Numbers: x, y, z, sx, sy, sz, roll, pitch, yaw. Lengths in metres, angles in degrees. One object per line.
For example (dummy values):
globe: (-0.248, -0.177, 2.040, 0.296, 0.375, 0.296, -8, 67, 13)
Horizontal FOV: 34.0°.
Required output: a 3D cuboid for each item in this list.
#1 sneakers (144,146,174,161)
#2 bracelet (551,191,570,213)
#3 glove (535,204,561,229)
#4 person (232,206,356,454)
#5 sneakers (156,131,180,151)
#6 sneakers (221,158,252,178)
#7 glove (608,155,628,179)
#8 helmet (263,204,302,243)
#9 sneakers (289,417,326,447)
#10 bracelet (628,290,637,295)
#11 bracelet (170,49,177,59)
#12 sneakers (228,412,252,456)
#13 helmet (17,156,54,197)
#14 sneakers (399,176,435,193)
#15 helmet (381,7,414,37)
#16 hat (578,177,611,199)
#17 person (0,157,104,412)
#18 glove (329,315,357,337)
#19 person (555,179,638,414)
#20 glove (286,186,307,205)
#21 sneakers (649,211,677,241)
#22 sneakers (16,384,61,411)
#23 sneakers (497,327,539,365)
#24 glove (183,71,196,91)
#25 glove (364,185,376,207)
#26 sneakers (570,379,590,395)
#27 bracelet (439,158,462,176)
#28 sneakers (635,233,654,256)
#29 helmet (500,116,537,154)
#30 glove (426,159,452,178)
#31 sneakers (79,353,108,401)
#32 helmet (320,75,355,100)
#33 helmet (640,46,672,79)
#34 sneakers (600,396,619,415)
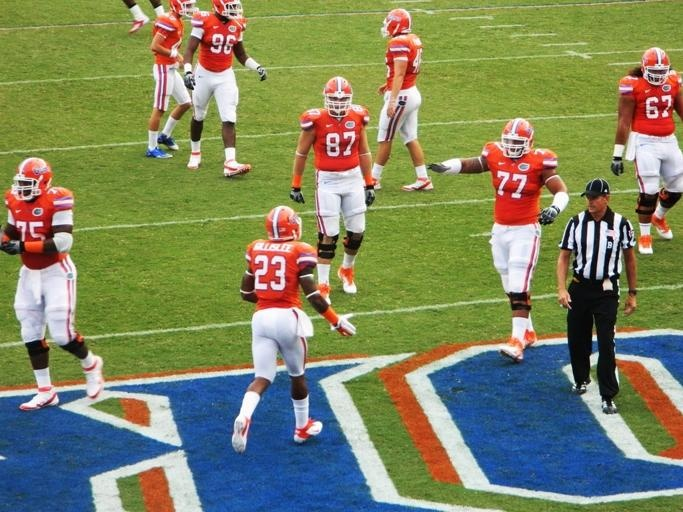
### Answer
sneakers: (-2.742, -1.525, 16.830, 0.370, 0.133, 0.170, 2, 35, -6)
bracelet: (2.202, -0.540, 11.276, 0.133, 0.099, 0.257, 35, 38, 7)
glove: (2.058, -0.383, 11.088, 0.179, 0.064, 0.226, 29, 62, 20)
person: (-0.504, 0.682, 10.233, 1.159, 2.174, 0.783, -8, 17, -21)
sneakers: (-2.632, -1.758, 17.175, 0.203, 0.152, 0.449, -35, -36, 24)
sneakers: (-1.422, -1.242, 16.012, 0.488, 0.188, 0.183, -2, 19, 31)
glove: (3.400, -1.082, 13.695, 0.346, 0.349, 0.169, 0, 0, 8)
helmet: (-0.551, -0.297, 10.382, 0.343, 0.286, 0.416, 0, 5, 7)
sneakers: (-0.295, 1.653, 10.434, 0.379, 0.170, 0.133, -24, 42, -20)
bracelet: (2.801, 0.353, 10.756, 0.085, 0.039, 0.066, 0, 9, -4)
bracelet: (-2.399, -2.927, 16.225, 0.139, 0.103, 0.121, -1, 0, -1)
sneakers: (-0.854, 1.590, 9.898, 0.170, 0.343, 0.177, 7, -9, 2)
helmet: (-2.970, -0.768, 10.815, 0.336, 0.318, 0.449, 10, 22, 31)
sneakers: (1.054, -0.996, 15.726, 0.534, 0.186, 0.154, 0, 30, 0)
helmet: (0.746, -3.155, 15.173, 0.503, 0.361, 0.398, 21, 40, 35)
hat: (2.477, -0.629, 10.687, 0.360, 0.158, 0.210, -8, 15, -31)
person: (-2.822, 0.271, 10.863, 0.833, 2.372, 0.660, -6, 16, -12)
glove: (-0.003, 0.682, 10.310, 0.250, 0.091, 0.238, 16, 29, 26)
person: (2.413, 0.382, 10.747, 0.734, 2.212, 0.629, 4, 17, 20)
glove: (-0.498, -0.682, 12.756, 0.199, 0.204, 0.099, 6, 2, -18)
sneakers: (4.022, -0.346, 14.078, 0.199, 0.468, 0.171, -43, 6, 48)
sneakers: (-2.889, 1.370, 10.906, 0.510, 0.192, 0.144, -8, 32, -18)
sneakers: (1.811, 0.941, 11.625, 0.205, 0.226, 0.562, 9, 14, 31)
glove: (-2.139, -2.438, 15.681, 0.126, 0.229, 0.199, -1, 7, 37)
glove: (0.354, -0.688, 12.852, 0.111, 0.246, 0.125, -5, -6, -4)
sneakers: (2.328, 1.303, 10.982, 0.086, 0.079, 0.214, -11, 8, 29)
bracelet: (1.175, -0.928, 11.852, 0.208, 0.074, 0.140, 6, 30, -29)
sneakers: (3.701, -0.121, 13.691, 0.139, 0.134, 0.335, -2, 11, 6)
helmet: (1.826, -1.232, 11.481, 0.338, 0.308, 0.451, 11, 27, 28)
glove: (1.034, -0.922, 11.801, 0.242, 0.083, 0.141, 14, -6, -9)
sneakers: (-2.408, 1.203, 11.038, 0.184, 0.433, 0.213, -1, 12, 20)
helmet: (-0.038, -1.849, 12.347, 0.310, 0.265, 0.356, -1, 15, -7)
helmet: (3.693, -2.243, 13.224, 0.344, 0.324, 0.388, -1, 45, 5)
sneakers: (2.562, 1.449, 10.738, 0.201, 0.144, 0.370, -2, -4, 4)
